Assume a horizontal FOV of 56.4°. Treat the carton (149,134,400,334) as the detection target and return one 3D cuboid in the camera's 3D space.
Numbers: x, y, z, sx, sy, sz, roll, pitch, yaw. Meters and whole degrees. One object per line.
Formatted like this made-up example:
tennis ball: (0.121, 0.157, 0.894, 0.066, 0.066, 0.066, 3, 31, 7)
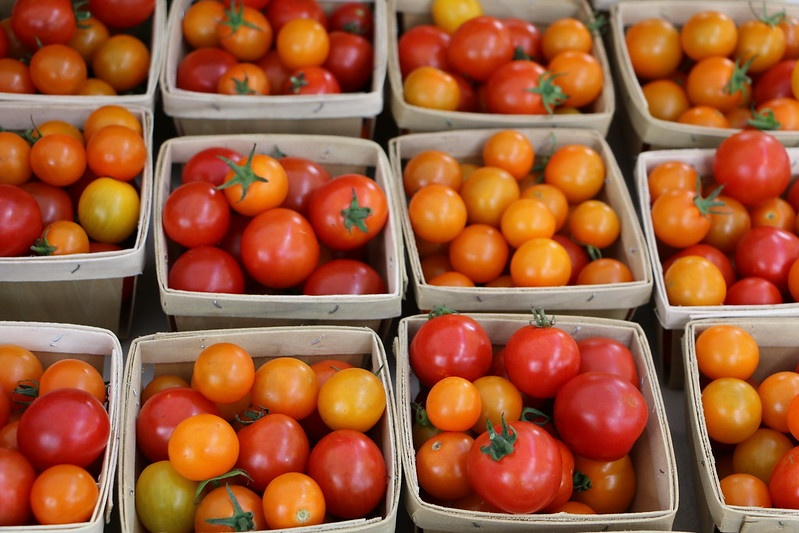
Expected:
carton: (-0.395, -0.030, 2.509, 0.689, 0.498, 0.640, -1, 66, -7)
